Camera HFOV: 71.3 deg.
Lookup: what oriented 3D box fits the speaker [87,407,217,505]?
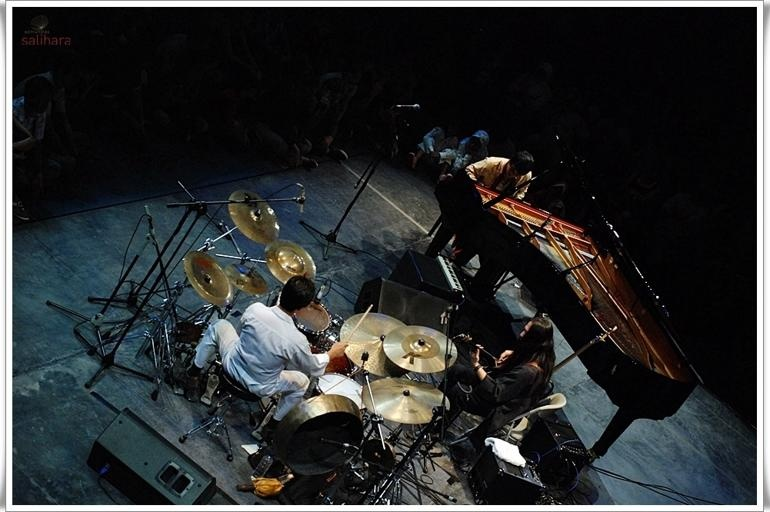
[{"bbox_3d":[-3.087,2.772,7.082,1.745,1.065,0.442,24,27,12],"label":"speaker"}]

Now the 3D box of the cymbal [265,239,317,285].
[{"bbox_3d":[-1.624,0.133,8.978,0.779,0.168,0.737,24,46,-23],"label":"cymbal"}]

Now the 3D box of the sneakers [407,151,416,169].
[{"bbox_3d":[0.761,-2.611,14.499,0.276,0.241,0.453,7,44,-1],"label":"sneakers"}]

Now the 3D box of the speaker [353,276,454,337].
[{"bbox_3d":[0.324,1.055,10.030,1.830,0.942,1.164,16,33,-16],"label":"speaker"}]

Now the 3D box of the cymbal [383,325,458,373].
[{"bbox_3d":[0.473,1.431,7.976,0.844,0.186,0.839,31,44,15],"label":"cymbal"}]

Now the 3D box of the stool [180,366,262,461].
[{"bbox_3d":[-2.411,2.322,8.027,1.007,1.025,1.072,39,64,-42],"label":"stool"}]

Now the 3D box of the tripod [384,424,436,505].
[{"bbox_3d":[0.372,3.181,8.056,0.913,1.056,0.885,10,46,1],"label":"tripod"}]

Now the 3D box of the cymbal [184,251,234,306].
[{"bbox_3d":[-2.596,0.331,7.897,0.998,0.193,0.938,43,15,-42],"label":"cymbal"}]

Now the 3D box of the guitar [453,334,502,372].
[{"bbox_3d":[1.643,1.762,9.652,1.236,0.498,0.190,39,34,-53],"label":"guitar"}]

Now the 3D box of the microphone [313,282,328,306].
[{"bbox_3d":[-1.139,0.689,9.490,0.180,0.463,0.180,36,71,0],"label":"microphone"}]

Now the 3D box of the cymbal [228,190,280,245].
[{"bbox_3d":[-2.151,-0.649,8.873,0.873,0.206,0.878,56,45,-6],"label":"cymbal"}]

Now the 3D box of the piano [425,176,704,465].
[{"bbox_3d":[3.674,1.015,11.060,4.109,3.406,5.547,11,32,-45],"label":"piano"}]
